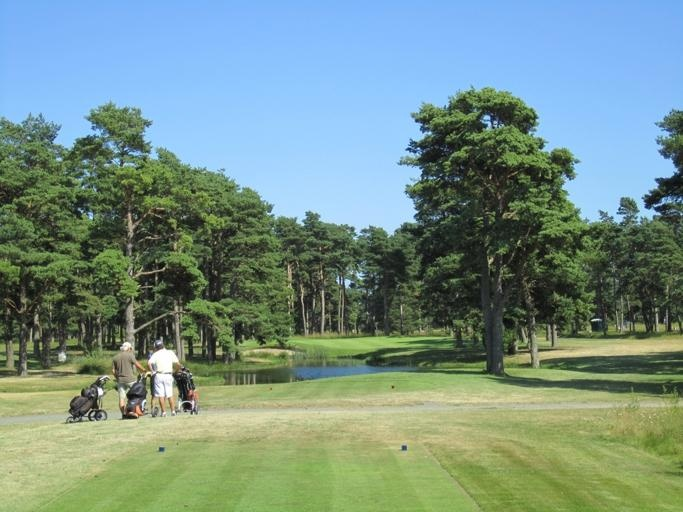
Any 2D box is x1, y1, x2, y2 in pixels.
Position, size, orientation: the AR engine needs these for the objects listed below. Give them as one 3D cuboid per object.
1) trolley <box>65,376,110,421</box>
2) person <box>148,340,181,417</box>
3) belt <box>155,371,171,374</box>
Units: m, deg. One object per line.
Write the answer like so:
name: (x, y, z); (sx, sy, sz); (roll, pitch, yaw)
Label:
trolley: (-8.354, 4.718, 24.609); (1.343, 1.383, 0.865); (-4, 8, -25)
person: (-5.965, 4.071, 25.003); (0.954, 2.494, 1.428); (-1, -8, -4)
belt: (-5.910, 3.847, 24.834); (0.410, 0.098, 0.075); (1, -8, -15)
